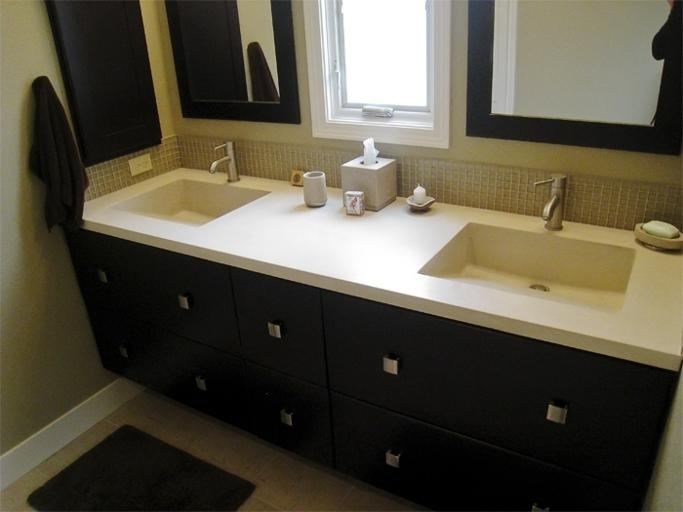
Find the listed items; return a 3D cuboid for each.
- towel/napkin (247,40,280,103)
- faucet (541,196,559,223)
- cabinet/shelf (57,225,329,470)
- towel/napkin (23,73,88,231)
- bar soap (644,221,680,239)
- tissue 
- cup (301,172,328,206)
[{"bbox_3d":[-0.378,-0.873,2.515,0.130,0.374,0.095,-2,60,-5],"label":"towel/napkin"},{"bbox_3d":[0.774,-0.161,1.949,0.042,0.111,0.107,12,29,27],"label":"faucet"},{"bbox_3d":[-0.480,0.200,2.554,1.362,0.885,0.775,12,32,20],"label":"cabinet/shelf"},{"bbox_3d":[-1.246,-0.435,2.275,0.210,0.634,0.185,-10,26,-18],"label":"towel/napkin"},{"bbox_3d":[1.107,-0.094,1.827,0.070,0.035,0.118,-23,34,-37],"label":"bar soap"},{"bbox_3d":[0.127,-0.343,2.265,0.196,0.373,0.195,14,34,30],"label":"tissue "},{"bbox_3d":[-0.108,-0.297,2.361,0.138,0.149,0.121,1,27,8],"label":"cup"}]
